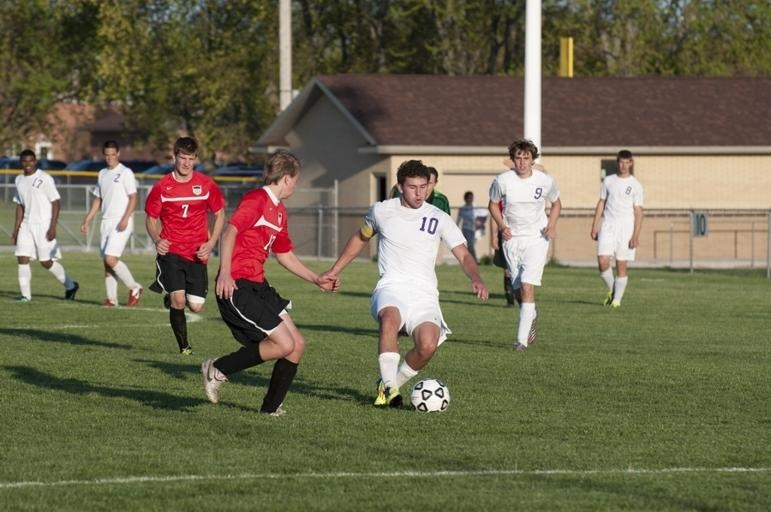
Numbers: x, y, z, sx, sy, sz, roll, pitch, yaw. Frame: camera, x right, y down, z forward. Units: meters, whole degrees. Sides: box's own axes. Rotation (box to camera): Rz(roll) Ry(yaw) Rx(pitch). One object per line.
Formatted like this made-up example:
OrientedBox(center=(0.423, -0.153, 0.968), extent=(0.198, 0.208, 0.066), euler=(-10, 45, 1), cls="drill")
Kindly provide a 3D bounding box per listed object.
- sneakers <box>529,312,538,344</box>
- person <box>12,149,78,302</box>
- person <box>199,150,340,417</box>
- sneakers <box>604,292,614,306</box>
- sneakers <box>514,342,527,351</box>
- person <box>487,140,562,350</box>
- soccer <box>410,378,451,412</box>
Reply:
OrientedBox(center=(2.609, 1.365, 25.845), extent=(0.209, 0.586, 0.253), euler=(-4, 34, -2), cls="sneakers")
OrientedBox(center=(-6.962, -0.532, 29.359), extent=(1.142, 3.096, 1.369), euler=(1, 2, -6), cls="person")
OrientedBox(center=(-1.923, 0.482, 22.418), extent=(1.371, 4.143, 1.065), euler=(-1, 3, -43), cls="person")
OrientedBox(center=(4.648, 0.983, 30.205), extent=(0.238, 0.283, 0.690), euler=(4, 3, 6), cls="sneakers")
OrientedBox(center=(2.383, 1.672, 25.465), extent=(0.244, 0.155, 0.180), euler=(1, 2, -10), cls="sneakers")
OrientedBox(center=(2.446, -0.138, 25.780), extent=(1.208, 3.731, 0.935), euler=(1, 2, 5), cls="person")
OrientedBox(center=(0.655, 2.348, 22.893), extent=(0.670, 0.647, 0.673), euler=(12, 1, 5), cls="soccer")
